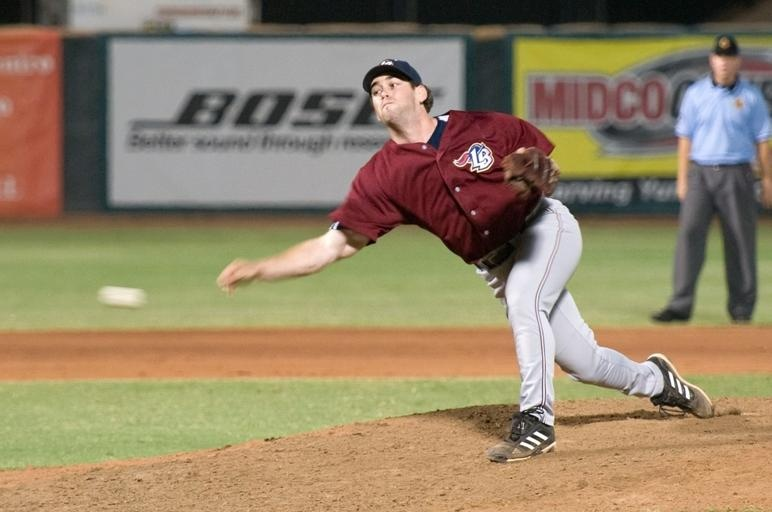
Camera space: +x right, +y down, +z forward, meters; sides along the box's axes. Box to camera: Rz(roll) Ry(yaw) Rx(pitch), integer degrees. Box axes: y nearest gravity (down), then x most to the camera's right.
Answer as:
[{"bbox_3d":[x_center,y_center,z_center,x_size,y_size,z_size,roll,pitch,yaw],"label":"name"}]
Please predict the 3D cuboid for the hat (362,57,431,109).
[{"bbox_3d":[0.126,-1.721,14.814,0.669,0.510,0.262,0,9,-3],"label":"hat"}]

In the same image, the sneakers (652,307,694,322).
[{"bbox_3d":[3.499,0.744,18.512,0.577,0.210,0.196,2,10,33],"label":"sneakers"}]
